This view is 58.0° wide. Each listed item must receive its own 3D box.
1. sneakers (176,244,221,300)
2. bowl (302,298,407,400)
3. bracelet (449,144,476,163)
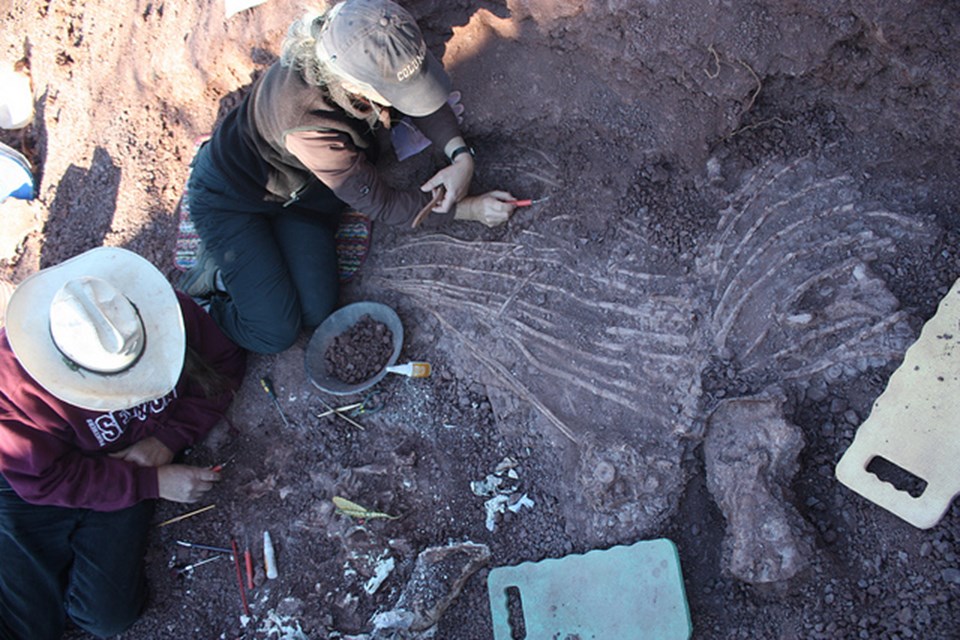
[{"bbox_3d":[-1.923,-0.317,6.005,0.371,0.171,0.305,-28,73,15],"label":"sneakers"},{"bbox_3d":[-0.793,0.210,5.726,0.659,0.213,0.675,-7,50,9],"label":"bowl"},{"bbox_3d":[-0.129,-1.068,5.568,0.110,0.118,0.046,-21,85,-45],"label":"bracelet"}]
